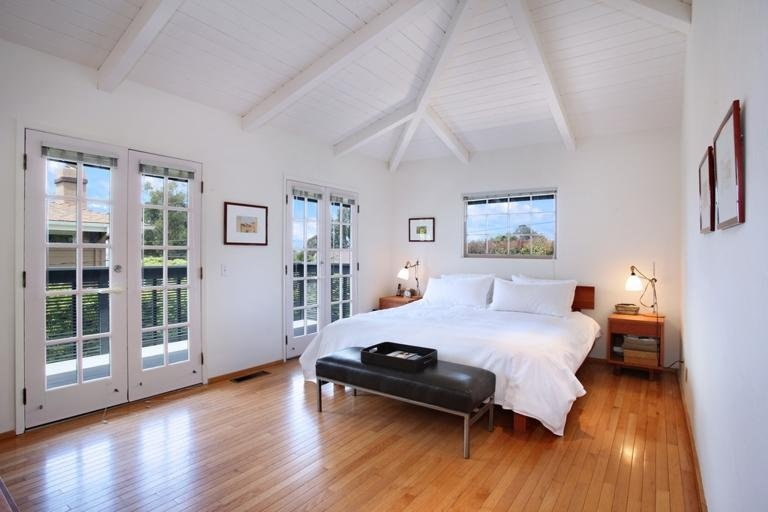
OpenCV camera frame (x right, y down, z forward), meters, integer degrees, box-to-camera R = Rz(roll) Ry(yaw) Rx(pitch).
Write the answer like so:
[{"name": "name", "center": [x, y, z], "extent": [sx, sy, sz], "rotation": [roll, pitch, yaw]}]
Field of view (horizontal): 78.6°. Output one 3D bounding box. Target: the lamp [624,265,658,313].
[{"name": "lamp", "center": [3.244, 0.437, 5.849], "extent": [0.387, 0.560, 0.386], "rotation": [7, 15, 29]}]

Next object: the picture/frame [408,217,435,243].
[{"name": "picture/frame", "center": [0.623, -0.419, 7.498], "extent": [0.405, 0.356, 0.041], "rotation": [1, 4, 36]}]

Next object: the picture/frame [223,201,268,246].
[{"name": "picture/frame", "center": [-1.699, -0.393, 5.674], "extent": [0.037, 0.528, 0.565], "rotation": [3, 0, 41]}]

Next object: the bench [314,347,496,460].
[{"name": "bench", "center": [0.208, 1.253, 4.490], "extent": [1.601, 0.686, 0.616], "rotation": [7, 15, 27]}]

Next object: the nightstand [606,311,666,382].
[{"name": "nightstand", "center": [3.148, 1.052, 5.818], "extent": [0.634, 0.683, 0.551], "rotation": [1, 8, 30]}]
